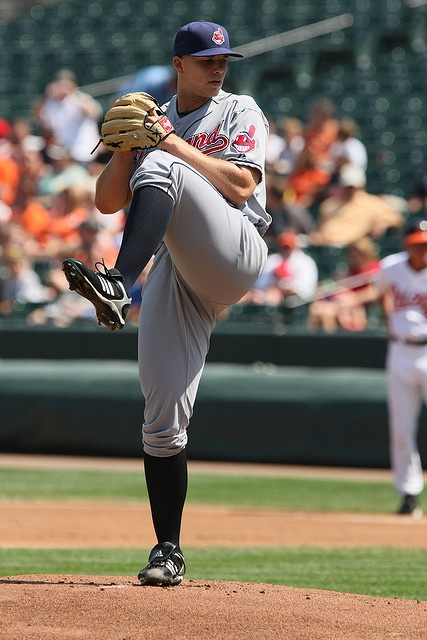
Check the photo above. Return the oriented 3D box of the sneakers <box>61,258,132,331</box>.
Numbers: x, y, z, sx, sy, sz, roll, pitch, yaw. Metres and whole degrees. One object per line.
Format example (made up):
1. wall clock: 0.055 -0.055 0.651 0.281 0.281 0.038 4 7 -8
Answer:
1. sneakers: -0.250 -0.053 1.667 0.136 0.143 0.168 -2 5 -31

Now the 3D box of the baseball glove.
1. baseball glove: -0.178 -0.434 1.853 0.171 0.129 0.116 -9 -13 -2

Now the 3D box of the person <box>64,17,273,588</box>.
1. person: -0.087 -0.036 1.891 0.440 1.367 0.597 1 4 0

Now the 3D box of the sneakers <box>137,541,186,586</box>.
1. sneakers: -0.118 0.573 1.886 0.063 0.066 0.150 0 -12 10

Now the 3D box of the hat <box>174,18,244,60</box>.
1. hat: -0.013 -0.659 1.924 0.145 0.065 0.094 8 12 43
